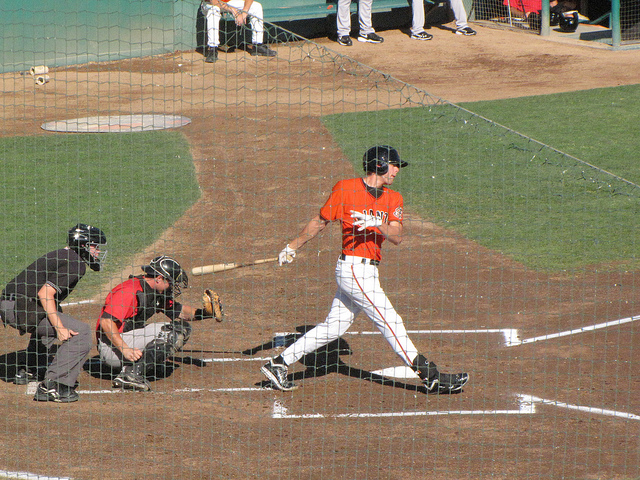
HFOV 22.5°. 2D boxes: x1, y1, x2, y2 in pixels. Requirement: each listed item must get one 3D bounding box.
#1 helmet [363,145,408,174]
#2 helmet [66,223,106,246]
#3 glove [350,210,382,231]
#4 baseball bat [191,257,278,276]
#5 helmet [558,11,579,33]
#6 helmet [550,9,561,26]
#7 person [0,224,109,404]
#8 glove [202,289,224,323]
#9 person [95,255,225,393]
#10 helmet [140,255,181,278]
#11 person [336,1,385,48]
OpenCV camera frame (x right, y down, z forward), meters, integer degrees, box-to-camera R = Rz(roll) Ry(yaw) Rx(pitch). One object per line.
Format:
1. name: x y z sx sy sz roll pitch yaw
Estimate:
1. helmet: 0.849 -1.059 21.222 0.508 0.248 0.363 -1 4 4
2. helmet: -3.100 -0.072 21.502 0.398 0.279 0.277 -6 8 0
3. glove: 0.606 -0.248 21.129 0.410 0.263 0.236 -1 20 0
4. baseball bat: -1.244 0.409 23.540 1.263 0.113 0.148 -5 25 1
5. helmet: 5.340 -4.696 34.904 0.416 0.396 0.351 5 21 18
6. helmet: 5.150 -4.870 35.391 0.249 0.327 0.115 8 65 7
7. person: -3.601 0.962 21.488 1.241 2.221 1.177 4 21 14
8. glove: -1.522 0.904 22.122 0.205 0.459 0.272 -15 -7 14
9. person: -2.312 1.104 21.561 1.248 1.689 0.694 -12 23 -26
10. helmet: -2.115 0.342 21.441 0.406 0.225 0.281 15 4 -3
11. person: 0.810 -4.534 33.820 0.648 1.251 0.763 26 37 36
